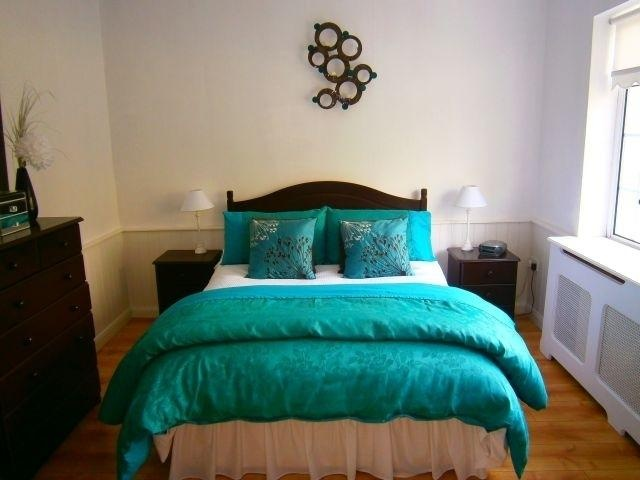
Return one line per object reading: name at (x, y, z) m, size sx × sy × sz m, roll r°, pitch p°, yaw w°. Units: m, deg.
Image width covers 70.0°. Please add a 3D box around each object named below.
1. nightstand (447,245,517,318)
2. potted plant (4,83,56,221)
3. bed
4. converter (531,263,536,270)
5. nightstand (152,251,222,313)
nightstand at (1.565, 0.457, 4.391) m, size 0.611 × 0.780 × 0.617 m, roll 9°, pitch 22°, yaw 37°
potted plant at (-2.026, -0.604, 3.170) m, size 0.252 × 0.912 × 0.748 m, roll -8°, pitch 16°, yaw -30°
bed at (-0.051, 0.369, 3.514) m, size 1.952 × 1.413 × 2.019 m, roll -1°, pitch 16°, yaw 2°
converter at (2.044, 0.254, 4.379) m, size 0.043 × 0.055 × 0.049 m, roll 1°, pitch 9°, yaw 4°
nightstand at (-1.207, 0.279, 4.356) m, size 0.619 × 0.875 × 0.498 m, roll 0°, pitch 8°, yaw -1°
